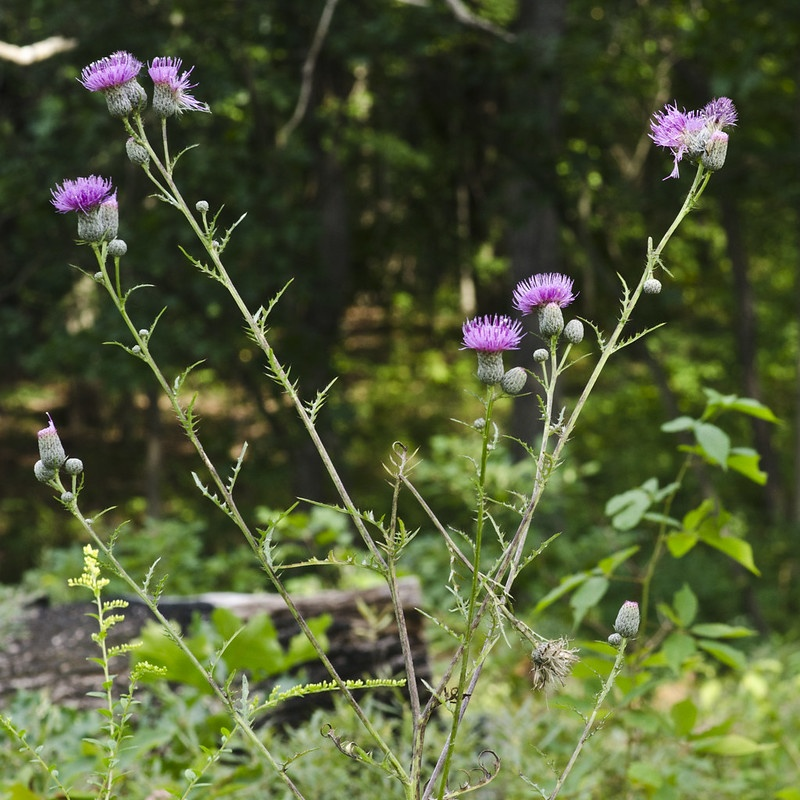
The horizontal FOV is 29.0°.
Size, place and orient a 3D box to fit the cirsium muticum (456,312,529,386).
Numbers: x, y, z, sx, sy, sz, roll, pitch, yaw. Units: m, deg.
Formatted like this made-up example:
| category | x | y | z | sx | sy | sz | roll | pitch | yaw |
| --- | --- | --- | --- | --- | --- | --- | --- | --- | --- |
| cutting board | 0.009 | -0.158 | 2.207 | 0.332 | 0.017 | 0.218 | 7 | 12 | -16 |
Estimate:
| category | x | y | z | sx | sy | sz | roll | pitch | yaw |
| --- | --- | --- | --- | --- | --- | --- | --- | --- | --- |
| cirsium muticum | 0.265 | -0.153 | 4.767 | 0.245 | 0.220 | 0.204 | -1 | 1 | 6 |

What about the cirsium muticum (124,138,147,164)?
| category | x | y | z | sx | sy | sz | roll | pitch | yaw |
| --- | --- | --- | --- | --- | --- | --- | --- | --- | --- |
| cirsium muticum | -0.818 | -0.772 | 4.809 | 0.071 | 0.087 | 0.117 | 6 | 20 | -9 |

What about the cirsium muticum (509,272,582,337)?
| category | x | y | z | sx | sy | sz | roll | pitch | yaw |
| --- | --- | --- | --- | --- | --- | --- | --- | --- | --- |
| cirsium muticum | 0.467 | -0.303 | 4.835 | 0.215 | 0.185 | 0.192 | -10 | 6 | -20 |

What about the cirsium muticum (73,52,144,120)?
| category | x | y | z | sx | sy | sz | roll | pitch | yaw |
| --- | --- | --- | --- | --- | --- | --- | --- | --- | --- |
| cirsium muticum | -0.897 | -0.984 | 4.830 | 0.256 | 0.202 | 0.179 | 25 | 26 | 37 |

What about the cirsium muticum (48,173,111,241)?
| category | x | y | z | sx | sy | sz | roll | pitch | yaw |
| --- | --- | --- | --- | --- | --- | --- | --- | --- | --- |
| cirsium muticum | -0.983 | -0.599 | 4.815 | 0.202 | 0.201 | 0.214 | 4 | 21 | -14 |

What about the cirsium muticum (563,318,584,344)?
| category | x | y | z | sx | sy | sz | roll | pitch | yaw |
| --- | --- | --- | --- | --- | --- | --- | --- | --- | --- |
| cirsium muticum | 0.528 | -0.209 | 4.790 | 0.078 | 0.082 | 0.074 | -2 | 9 | -12 |

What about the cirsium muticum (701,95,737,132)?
| category | x | y | z | sx | sy | sz | roll | pitch | yaw |
| --- | --- | --- | --- | --- | --- | --- | --- | --- | --- |
| cirsium muticum | 0.998 | -0.898 | 4.842 | 0.115 | 0.104 | 0.190 | 12 | 20 | 8 |

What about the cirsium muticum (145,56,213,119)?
| category | x | y | z | sx | sy | sz | roll | pitch | yaw |
| --- | --- | --- | --- | --- | --- | --- | --- | --- | --- |
| cirsium muticum | -0.706 | -0.985 | 4.872 | 0.181 | 0.181 | 0.275 | 3 | 21 | -15 |

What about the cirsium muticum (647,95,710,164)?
| category | x | y | z | sx | sy | sz | roll | pitch | yaw |
| --- | --- | --- | --- | --- | --- | --- | --- | --- | --- |
| cirsium muticum | 0.865 | -0.838 | 4.861 | 0.166 | 0.187 | 0.263 | 11 | 20 | 5 |
